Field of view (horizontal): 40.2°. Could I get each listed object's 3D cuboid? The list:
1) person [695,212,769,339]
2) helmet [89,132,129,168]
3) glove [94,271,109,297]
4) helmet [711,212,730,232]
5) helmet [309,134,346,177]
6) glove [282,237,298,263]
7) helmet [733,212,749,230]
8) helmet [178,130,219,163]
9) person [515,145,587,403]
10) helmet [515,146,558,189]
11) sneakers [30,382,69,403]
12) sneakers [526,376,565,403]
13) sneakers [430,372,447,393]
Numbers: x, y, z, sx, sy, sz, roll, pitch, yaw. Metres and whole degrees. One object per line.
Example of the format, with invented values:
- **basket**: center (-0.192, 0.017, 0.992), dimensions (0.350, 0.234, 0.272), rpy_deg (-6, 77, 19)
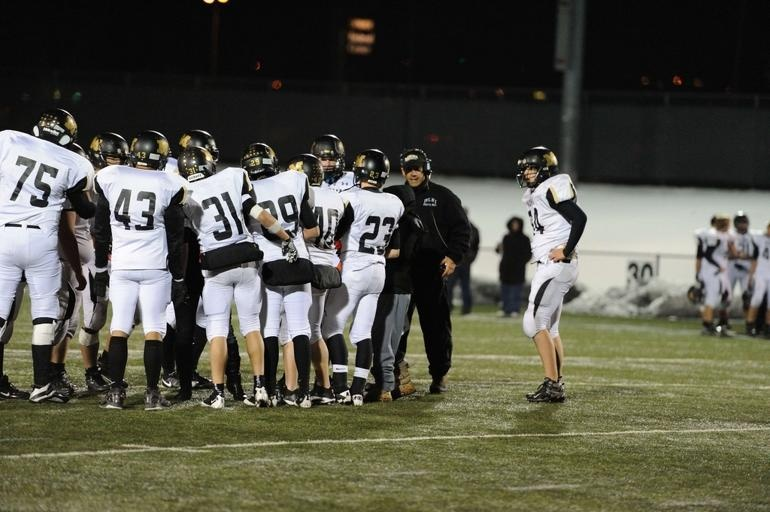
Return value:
- **person**: center (4.790, 0.264, 14.996), dimensions (0.752, 1.751, 0.796), rpy_deg (3, 12, 3)
- **helmet**: center (-3.550, -1.326, 13.348), dimensions (0.523, 0.387, 0.377), rpy_deg (15, 6, 14)
- **glove**: center (-3.342, 0.322, 12.380), dimensions (0.234, 0.287, 0.083), rpy_deg (-4, -7, 24)
- **helmet**: center (4.628, -0.464, 14.513), dimensions (0.212, 0.249, 0.270), rpy_deg (-5, -23, 24)
- **helmet**: center (-0.720, -1.322, 13.435), dimensions (0.392, 0.430, 0.506), rpy_deg (-1, 24, 0)
- **glove**: center (-1.124, -0.072, 12.350), dimensions (0.198, 0.263, 0.079), rpy_deg (-12, 9, 33)
- **helmet**: center (4.799, -0.486, 14.208), dimensions (0.202, 0.264, 0.238), rpy_deg (0, 40, 15)
- **helmet**: center (-2.411, -1.450, 13.633), dimensions (0.536, 0.372, 0.406), rpy_deg (1, 10, 2)
- **person**: center (2.051, 0.230, 13.362), dimensions (0.791, 3.110, 1.029), rpy_deg (3, 12, 1)
- **helmet**: center (2.005, -1.170, 13.655), dimensions (0.619, 0.497, 0.461), rpy_deg (-7, 6, -6)
- **sneakers**: center (-3.873, 1.613, 12.429), dimensions (0.593, 0.250, 0.203), rpy_deg (1, 6, -22)
- **sneakers**: center (2.045, 1.718, 13.254), dimensions (0.640, 0.265, 0.211), rpy_deg (0, 1, -8)
- **sneakers**: center (0.693, 1.658, 13.668), dimensions (0.276, 0.256, 0.168), rpy_deg (1, 3, 2)
